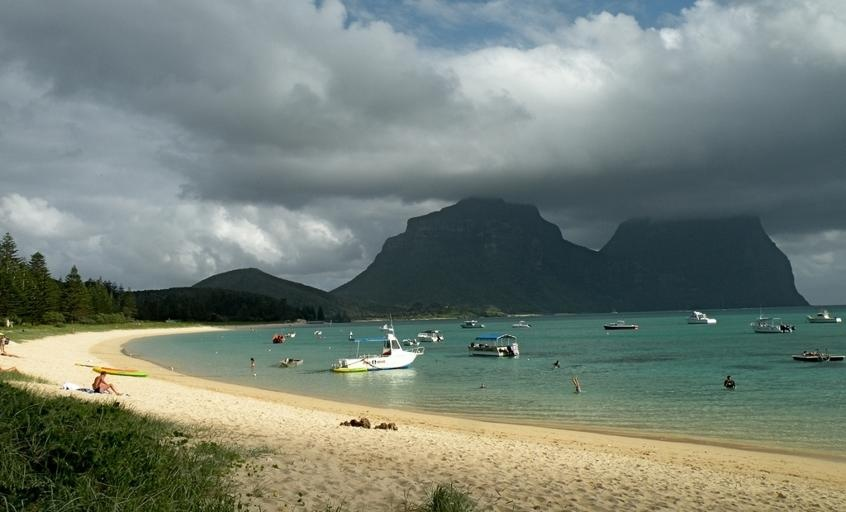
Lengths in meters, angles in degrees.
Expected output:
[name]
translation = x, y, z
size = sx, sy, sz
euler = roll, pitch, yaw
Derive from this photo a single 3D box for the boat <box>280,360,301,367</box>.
[boat]
translation = -21.462, 17.157, 105.892
size = 2.940, 1.110, 1.761
euler = 5, -12, -32
